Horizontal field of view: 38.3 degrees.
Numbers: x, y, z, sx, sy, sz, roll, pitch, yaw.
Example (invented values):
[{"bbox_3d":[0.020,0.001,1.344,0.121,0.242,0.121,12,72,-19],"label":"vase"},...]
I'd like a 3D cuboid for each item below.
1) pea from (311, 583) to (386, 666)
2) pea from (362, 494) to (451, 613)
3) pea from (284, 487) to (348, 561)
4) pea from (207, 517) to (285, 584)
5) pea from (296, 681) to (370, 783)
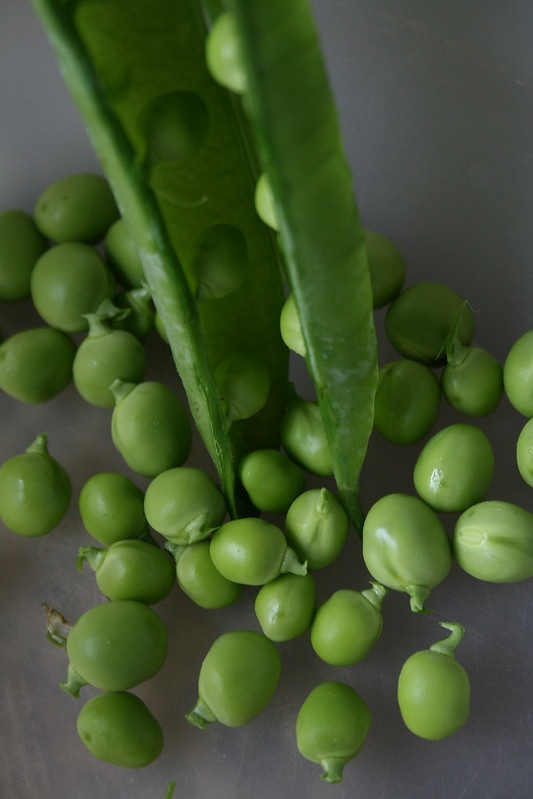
[{"bbox_3d":[0.055,0.143,0.485,0.054,0.039,0.032,-14,17,-10],"label":"pea"},{"bbox_3d":[0.076,0.099,0.495,0.058,0.068,0.051,1,-15,-19],"label":"pea"},{"bbox_3d":[0.033,0.083,0.490,0.040,0.048,0.029,5,6,-15],"label":"pea"},{"bbox_3d":[-0.010,0.092,0.466,0.047,0.033,0.036,10,26,19],"label":"pea"},{"bbox_3d":[0.040,0.198,0.465,0.048,0.043,0.058,1,60,4],"label":"pea"}]
